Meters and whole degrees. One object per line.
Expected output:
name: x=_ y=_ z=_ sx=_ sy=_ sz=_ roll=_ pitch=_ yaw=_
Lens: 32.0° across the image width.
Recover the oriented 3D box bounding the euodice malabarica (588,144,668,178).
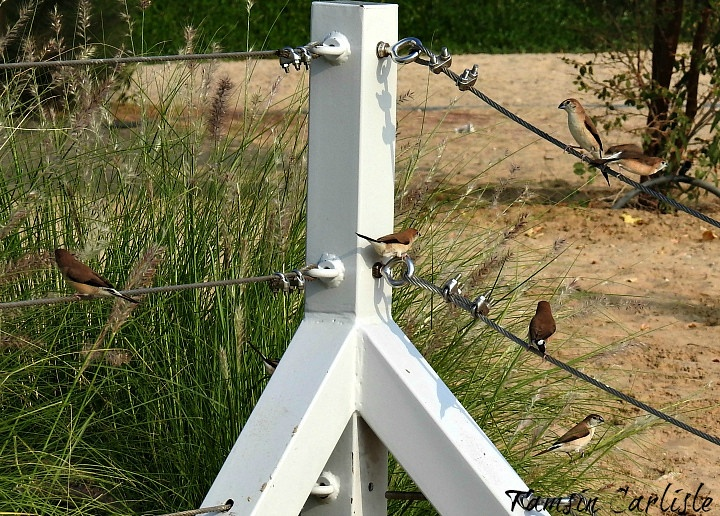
euodice malabarica: x=1.038 y=-0.367 z=4.759 sx=0.212 sy=0.086 sz=0.160 roll=27 pitch=0 yaw=-18

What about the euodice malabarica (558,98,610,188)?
euodice malabarica: x=0.904 y=-0.471 z=4.942 sx=0.298 sy=0.204 sz=0.102 roll=31 pitch=-31 yaw=-30

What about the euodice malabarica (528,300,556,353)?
euodice malabarica: x=0.670 y=0.249 z=4.623 sx=0.089 sy=0.219 sz=0.165 roll=1 pitch=-12 yaw=16

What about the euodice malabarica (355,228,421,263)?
euodice malabarica: x=0.117 y=-0.050 z=4.552 sx=0.254 sy=0.120 sz=0.096 roll=-1 pitch=-5 yaw=-23
